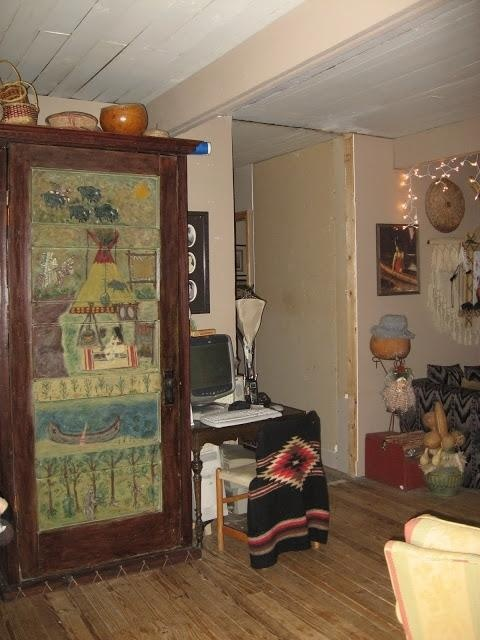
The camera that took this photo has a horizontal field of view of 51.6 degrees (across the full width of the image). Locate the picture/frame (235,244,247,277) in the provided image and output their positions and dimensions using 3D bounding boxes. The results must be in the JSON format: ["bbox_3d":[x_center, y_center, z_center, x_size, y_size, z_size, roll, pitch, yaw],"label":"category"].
[{"bbox_3d":[0.020,-0.640,5.304,0.046,0.336,0.214,0,-1,-24],"label":"picture/frame"}]

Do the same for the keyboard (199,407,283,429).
[{"bbox_3d":[-0.004,0.560,2.860,0.296,0.032,0.183,-4,5,-36],"label":"keyboard"}]

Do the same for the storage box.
[{"bbox_3d":[1.171,1.086,3.923,0.390,0.373,0.453,1,-2,-12],"label":"storage box"}]
